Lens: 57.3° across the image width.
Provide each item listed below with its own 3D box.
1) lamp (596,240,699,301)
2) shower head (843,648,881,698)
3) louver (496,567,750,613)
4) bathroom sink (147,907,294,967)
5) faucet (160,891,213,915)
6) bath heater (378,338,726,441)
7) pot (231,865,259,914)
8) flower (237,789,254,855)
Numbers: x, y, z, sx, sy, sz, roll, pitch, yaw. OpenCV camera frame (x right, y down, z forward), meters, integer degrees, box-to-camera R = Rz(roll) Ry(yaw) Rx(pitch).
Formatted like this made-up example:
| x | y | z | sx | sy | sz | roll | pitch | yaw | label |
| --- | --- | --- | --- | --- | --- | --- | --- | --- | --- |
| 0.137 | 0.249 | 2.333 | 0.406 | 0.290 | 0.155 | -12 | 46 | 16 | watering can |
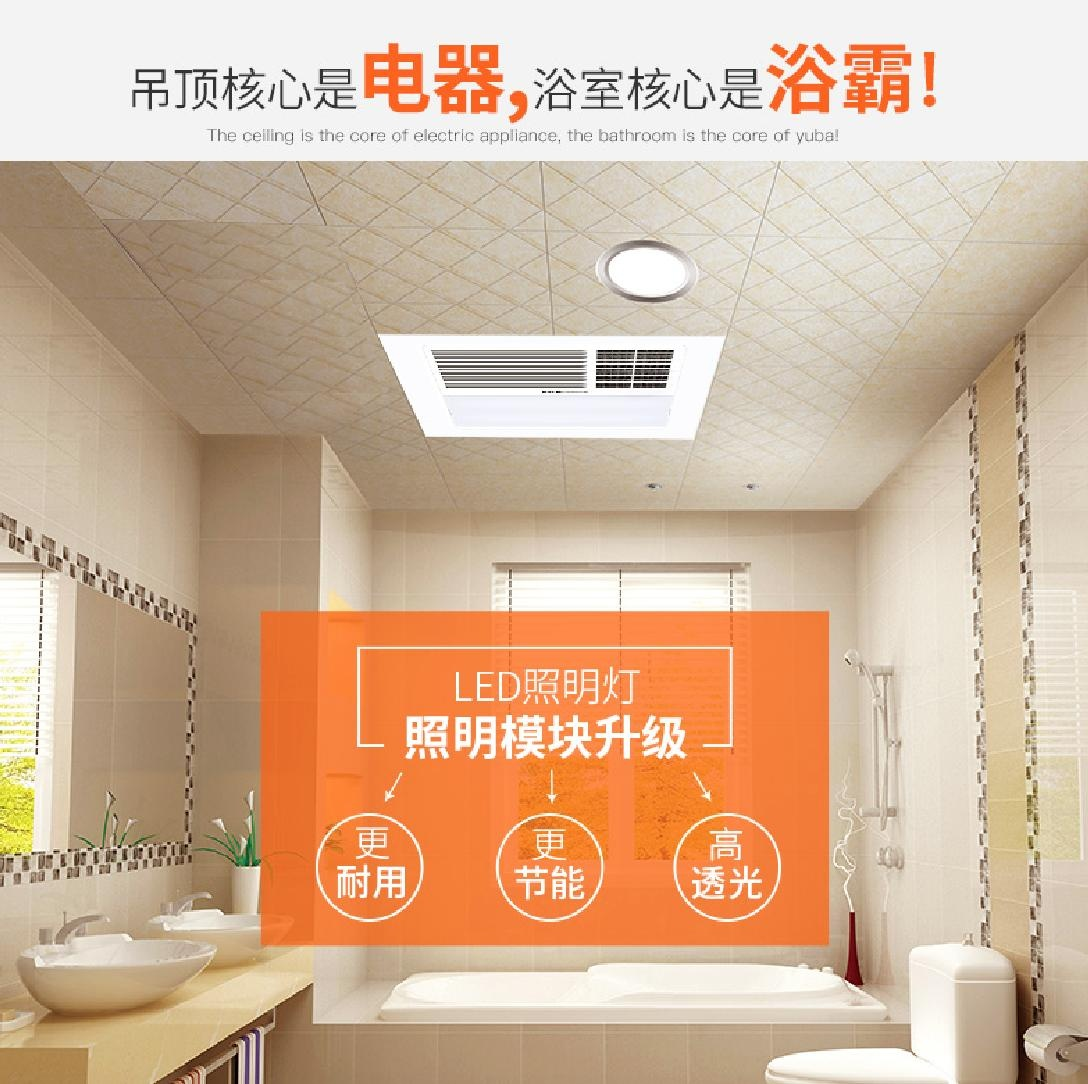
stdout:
| x | y | z | sx | sy | sz | roll | pitch | yaw | label |
| --- | --- | --- | --- | --- | --- | --- | --- | --- | --- |
| 0.274 | -0.704 | 2.609 | 0.248 | 0.130 | 0.092 | -2 | -13 | 3 | lamp |
| 0.842 | 0.346 | 2.620 | 0.108 | 0.121 | 0.021 | 7 | -16 | -33 | shower head |
| 0.210 | 0.127 | 2.665 | 0.677 | 0.136 | 0.027 | -2 | -14 | 3 | louver |
| -0.867 | 1.003 | 2.609 | 0.218 | 0.066 | 0.187 | -3 | -10 | 22 | bathroom sink |
| -0.940 | 0.947 | 2.623 | 0.140 | 0.042 | 0.043 | 2 | -6 | -22 | faucet |
| 0.053 | -0.482 | 2.723 | 0.866 | 0.304 | 0.023 | -3 | -49 | -15 | bath heater |
| -0.787 | 0.920 | 2.638 | 0.070 | 0.124 | 0.030 | 0 | -14 | -10 | pot |
| -0.785 | 0.763 | 2.656 | 0.053 | 0.192 | 0.026 | -1 | -14 | -6 | flower |
